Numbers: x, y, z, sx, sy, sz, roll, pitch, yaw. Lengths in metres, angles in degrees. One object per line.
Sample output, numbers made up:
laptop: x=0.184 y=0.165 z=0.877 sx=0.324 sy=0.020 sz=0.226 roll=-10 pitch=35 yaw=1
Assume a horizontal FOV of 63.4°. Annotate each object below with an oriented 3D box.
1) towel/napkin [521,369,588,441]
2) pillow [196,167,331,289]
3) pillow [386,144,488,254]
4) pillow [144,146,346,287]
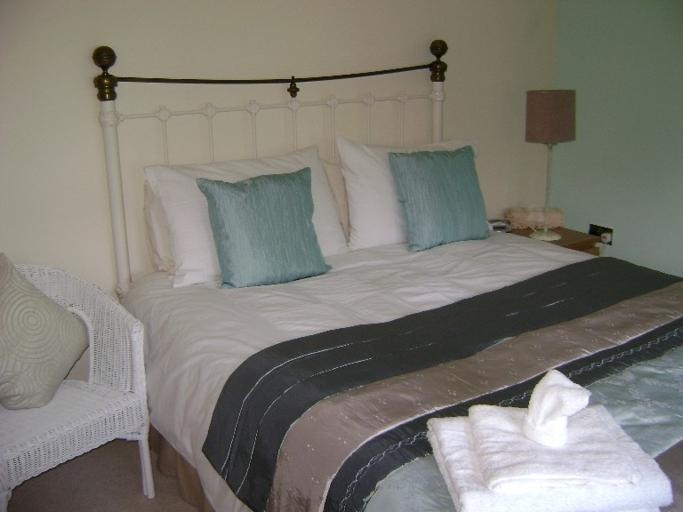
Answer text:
towel/napkin: x=0.457 y=0.319 z=1.182 sx=0.111 sy=0.143 sz=0.074 roll=20 pitch=-5 yaw=15
pillow: x=-0.348 y=-0.103 z=2.279 sx=0.415 sy=0.362 sz=0.215 roll=-14 pitch=30 yaw=-28
pillow: x=0.448 y=-0.239 z=2.644 sx=0.489 sy=0.473 sz=0.131 roll=-10 pitch=2 yaw=-29
pillow: x=-0.535 y=-0.208 z=2.305 sx=0.700 sy=0.678 sz=0.206 roll=-14 pitch=8 yaw=-33
